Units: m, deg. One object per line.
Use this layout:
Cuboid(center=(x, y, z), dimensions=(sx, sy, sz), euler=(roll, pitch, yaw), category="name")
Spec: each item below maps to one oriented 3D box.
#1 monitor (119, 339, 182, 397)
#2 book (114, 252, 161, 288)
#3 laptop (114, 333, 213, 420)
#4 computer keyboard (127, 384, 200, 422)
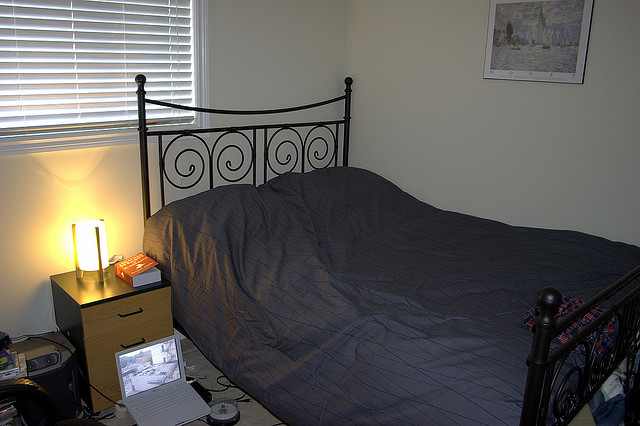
Cuboid(center=(-1.009, 0.846, 2.691), dimensions=(0.167, 0.273, 0.306), euler=(15, 19, 43), category="monitor")
Cuboid(center=(-1.144, 0.359, 2.896), dimensions=(0.336, 0.126, 0.267), euler=(13, 16, 43), category="book")
Cuboid(center=(-0.910, 1.003, 2.633), dimensions=(0.434, 0.335, 0.478), euler=(-14, 29, -34), category="laptop")
Cuboid(center=(-0.891, 1.063, 2.625), dimensions=(0.361, 0.031, 0.139), euler=(-10, 19, -30), category="computer keyboard")
